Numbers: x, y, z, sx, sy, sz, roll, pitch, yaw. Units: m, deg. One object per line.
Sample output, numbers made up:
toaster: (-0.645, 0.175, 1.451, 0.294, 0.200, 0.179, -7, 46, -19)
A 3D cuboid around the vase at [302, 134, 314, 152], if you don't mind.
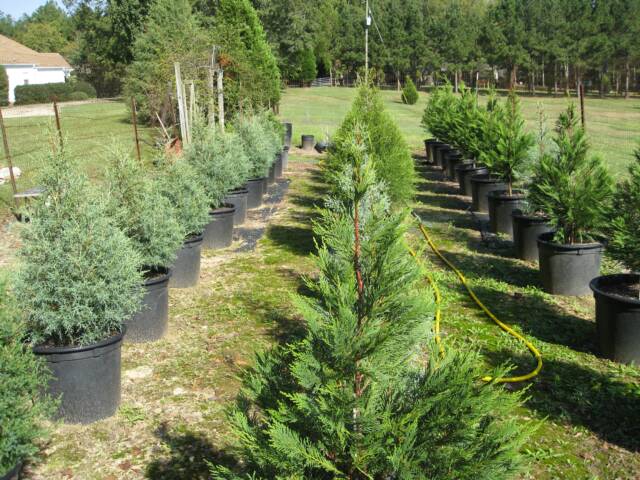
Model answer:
vase: (-0.596, -4.657, 24.584, 0.592, 0.683, 0.624, -1, 15, -4)
